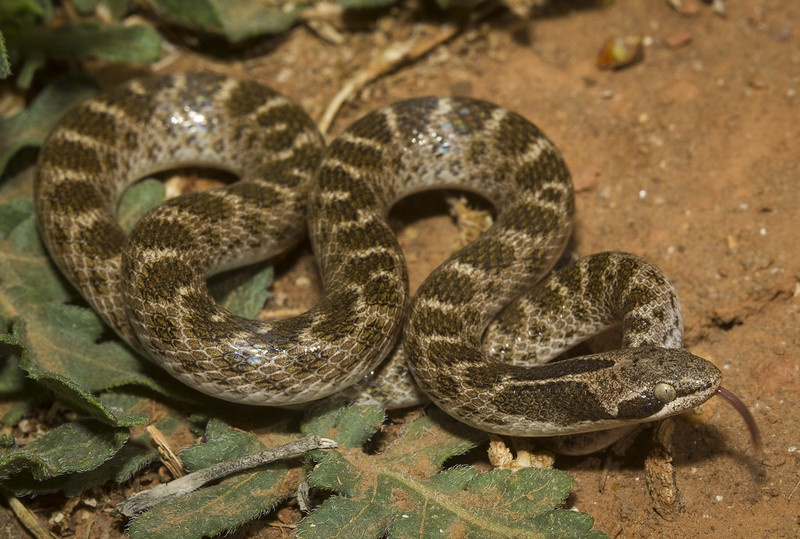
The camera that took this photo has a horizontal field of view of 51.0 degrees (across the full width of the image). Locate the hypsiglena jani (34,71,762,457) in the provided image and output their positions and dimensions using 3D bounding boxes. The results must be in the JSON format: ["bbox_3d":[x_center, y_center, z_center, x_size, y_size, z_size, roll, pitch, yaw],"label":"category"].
[{"bbox_3d":[-0.494,-0.087,7.284,5.459,0.808,3.096,23,54,11],"label":"hypsiglena jani"}]
